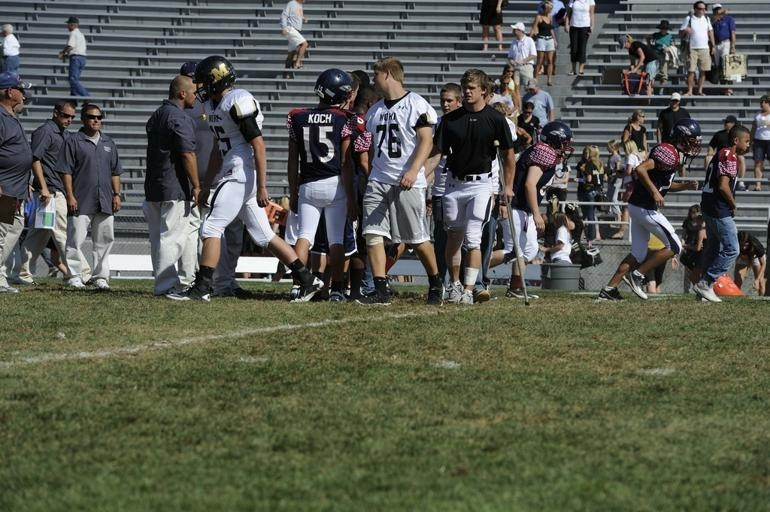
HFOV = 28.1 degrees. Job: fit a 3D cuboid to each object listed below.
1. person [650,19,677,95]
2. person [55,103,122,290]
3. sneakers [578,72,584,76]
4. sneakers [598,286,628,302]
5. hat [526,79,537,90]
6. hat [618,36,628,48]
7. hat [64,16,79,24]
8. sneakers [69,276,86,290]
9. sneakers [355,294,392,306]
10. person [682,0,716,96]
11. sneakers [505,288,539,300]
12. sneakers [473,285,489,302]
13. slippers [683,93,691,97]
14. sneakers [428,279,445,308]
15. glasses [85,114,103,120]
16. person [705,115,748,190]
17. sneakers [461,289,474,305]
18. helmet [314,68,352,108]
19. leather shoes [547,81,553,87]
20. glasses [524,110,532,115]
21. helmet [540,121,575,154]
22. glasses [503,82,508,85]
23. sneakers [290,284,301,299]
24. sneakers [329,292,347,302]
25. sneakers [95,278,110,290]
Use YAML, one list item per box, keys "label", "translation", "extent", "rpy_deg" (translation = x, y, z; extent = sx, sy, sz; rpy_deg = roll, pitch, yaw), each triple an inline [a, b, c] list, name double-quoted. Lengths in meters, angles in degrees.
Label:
- label: "person"
  translation: [6.144, -4.540, 34.242]
  extent: [0.670, 1.341, 1.455]
  rpy_deg: [3, 4, 7]
- label: "person"
  translation: [-4.709, -0.953, 24.461]
  extent: [0.874, 2.902, 0.967]
  rpy_deg: [2, 3, -11]
- label: "sneakers"
  translation: [4.401, -4.159, 35.106]
  extent: [0.069, 0.082, 0.189]
  rpy_deg: [2, 14, 3]
- label: "sneakers"
  translation: [3.563, 0.617, 24.151]
  extent: [0.518, 0.242, 0.175]
  rpy_deg: [2, 2, -8]
- label: "hat"
  translation: [2.953, -3.520, 31.580]
  extent: [0.149, 0.192, 0.191]
  rpy_deg: [3, 0, 20]
- label: "hat"
  translation: [5.223, -4.837, 34.243]
  extent: [0.219, 0.294, 0.262]
  rpy_deg: [-4, -17, 22]
- label: "hat"
  translation: [-6.878, -5.183, 33.880]
  extent: [0.194, 0.203, 0.546]
  rpy_deg: [2, 4, -14]
- label: "sneakers"
  translation: [-4.877, 0.438, 24.295]
  extent: [0.127, 0.162, 0.341]
  rpy_deg: [-2, 2, -42]
- label: "sneakers"
  translation: [-0.184, 0.659, 22.646]
  extent: [0.491, 0.200, 0.181]
  rpy_deg: [5, -2, -3]
- label: "person"
  translation: [6.789, -4.520, 33.818]
  extent: [0.645, 1.969, 1.258]
  rpy_deg: [3, 3, 16]
- label: "sneakers"
  translation: [2.103, 0.601, 23.970]
  extent: [0.547, 0.243, 0.192]
  rpy_deg: [0, 1, 5]
- label: "sneakers"
  translation: [1.403, 0.594, 23.163]
  extent: [0.125, 0.162, 0.346]
  rpy_deg: [-3, -16, -10]
- label: "slippers"
  translation: [6.647, -3.589, 34.167]
  extent: [0.051, 0.069, 0.168]
  rpy_deg: [-2, 7, -35]
- label: "sneakers"
  translation: [0.720, 0.554, 22.858]
  extent: [0.151, 0.459, 0.196]
  rpy_deg: [1, 10, 15]
- label: "glasses"
  translation: [-4.584, -2.187, 24.251]
  extent: [0.118, 0.082, 0.303]
  rpy_deg: [5, 4, 30]
- label: "person"
  translation: [6.579, -2.114, 29.743]
  extent: [0.842, 1.210, 0.864]
  rpy_deg: [-3, -4, 36]
- label: "sneakers"
  translation: [1.181, 0.617, 22.956]
  extent: [0.160, 0.193, 0.439]
  rpy_deg: [2, -6, 4]
- label: "helmet"
  translation: [-0.754, -2.598, 22.842]
  extent: [0.414, 0.476, 0.587]
  rpy_deg: [17, 45, 12]
- label: "leather shoes"
  translation: [3.670, -3.903, 34.866]
  extent: [0.116, 0.134, 0.330]
  rpy_deg: [-1, -1, 2]
- label: "glasses"
  translation: [2.668, -2.742, 29.339]
  extent: [0.078, 0.098, 0.101]
  rpy_deg: [11, 6, 12]
- label: "helmet"
  translation: [2.689, -1.899, 24.266]
  extent: [0.509, 0.441, 0.404]
  rpy_deg: [15, 12, -13]
- label: "glasses"
  translation: [2.310, -3.400, 30.223]
  extent: [0.064, 0.069, 0.020]
  rpy_deg: [1, 1, 8]
- label: "sneakers"
  translation: [-1.374, 0.542, 23.157]
  extent: [0.181, 0.142, 0.516]
  rpy_deg: [-1, -4, -2]
- label: "sneakers"
  translation: [-0.742, 0.623, 23.108]
  extent: [0.298, 0.129, 0.114]
  rpy_deg: [1, 18, 19]
- label: "sneakers"
  translation: [-4.452, 0.447, 24.145]
  extent: [0.150, 0.125, 0.231]
  rpy_deg: [-4, -1, -41]
